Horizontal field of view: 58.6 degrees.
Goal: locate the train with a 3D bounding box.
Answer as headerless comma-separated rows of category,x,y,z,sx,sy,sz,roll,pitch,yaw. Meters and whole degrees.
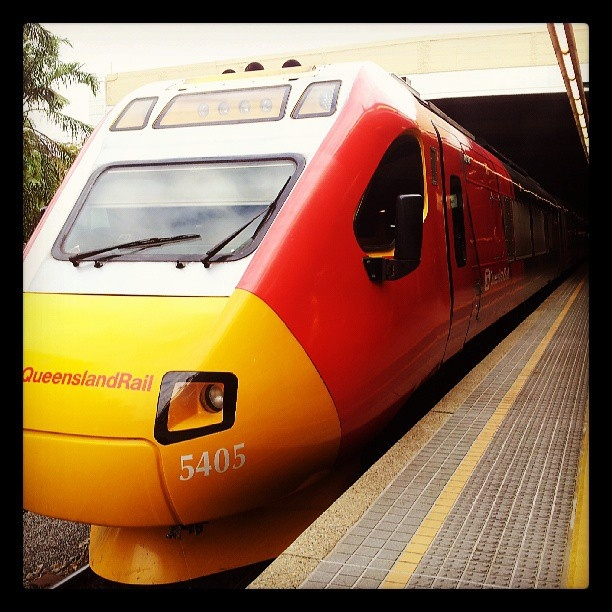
train,0.508,-0.282,5.333,1.384,2.202,6.612,0,5,19
